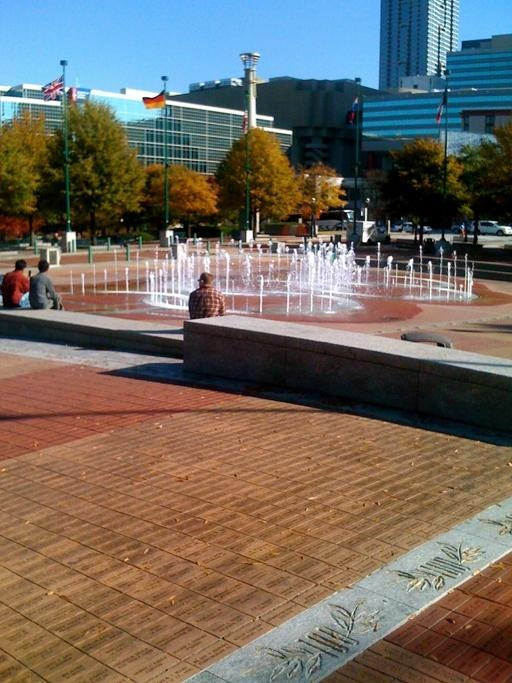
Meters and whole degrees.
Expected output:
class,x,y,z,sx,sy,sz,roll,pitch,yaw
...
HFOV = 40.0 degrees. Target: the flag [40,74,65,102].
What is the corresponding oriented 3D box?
class,x,y,z,sx,sy,sz,roll,pitch,yaw
flag,-11.235,-13.975,38.996,1.111,1.058,1.984,-3,10,-15
